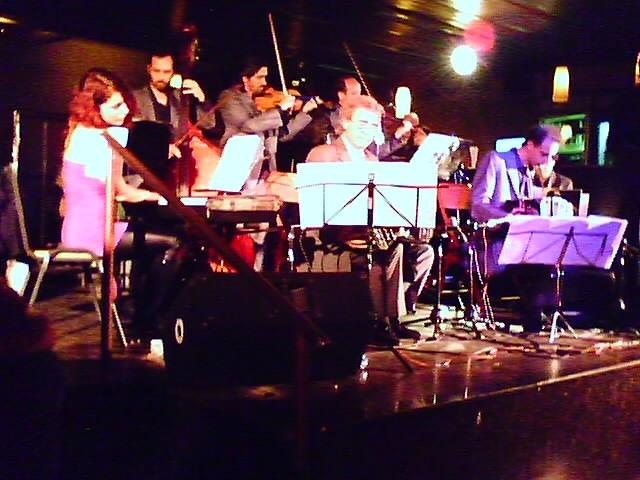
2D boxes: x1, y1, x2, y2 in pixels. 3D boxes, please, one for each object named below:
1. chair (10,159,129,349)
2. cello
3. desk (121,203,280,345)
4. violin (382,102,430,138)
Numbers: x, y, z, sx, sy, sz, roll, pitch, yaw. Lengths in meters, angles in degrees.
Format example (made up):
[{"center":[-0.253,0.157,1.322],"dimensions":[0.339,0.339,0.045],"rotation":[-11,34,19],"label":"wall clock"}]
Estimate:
[{"center":[-2.157,0.081,5.187],"dimensions":[1.171,2.010,1.180],"rotation":[-1,9,-16],"label":"chair"},{"center":[-1.557,-1.475,7.397],"dimensions":[0.961,2.094,0.512],"rotation":[-4,13,-34],"label":"cello"},{"center":[-1.064,0.150,5.724],"dimensions":[1.231,1.211,2.106],"rotation":[8,9,-5],"label":"desk"},{"center":[0.995,-1.564,8.121],"dimensions":[0.614,0.233,0.472],"rotation":[6,4,44],"label":"violin"}]
